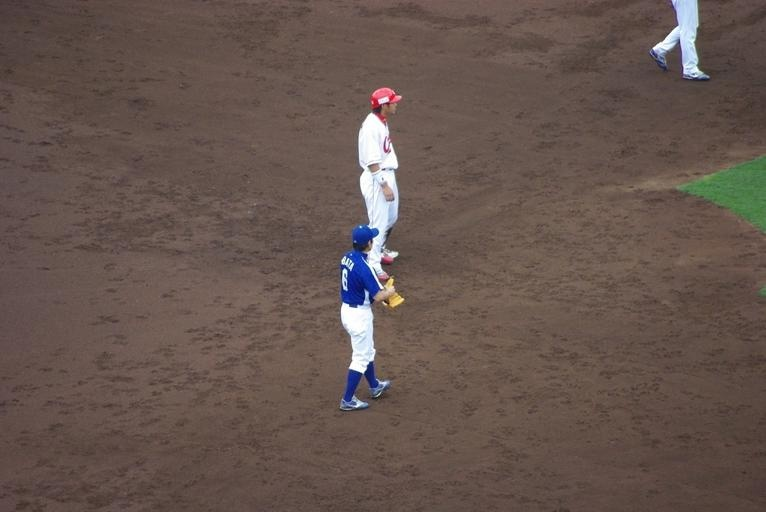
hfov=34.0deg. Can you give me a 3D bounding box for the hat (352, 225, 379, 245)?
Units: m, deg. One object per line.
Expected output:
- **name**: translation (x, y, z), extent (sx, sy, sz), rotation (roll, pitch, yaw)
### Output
- **hat**: translation (-0.307, -0.376, 20.438), extent (0.305, 0.422, 0.197), rotation (20, -52, 33)

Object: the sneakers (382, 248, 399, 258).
- **sneakers**: translation (0.127, -0.053, 22.989), extent (0.260, 0.145, 0.077), rotation (6, -61, 4)

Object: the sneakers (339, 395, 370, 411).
- **sneakers**: translation (-0.505, 2.448, 20.674), extent (0.578, 0.180, 0.188), rotation (-1, -68, -7)
